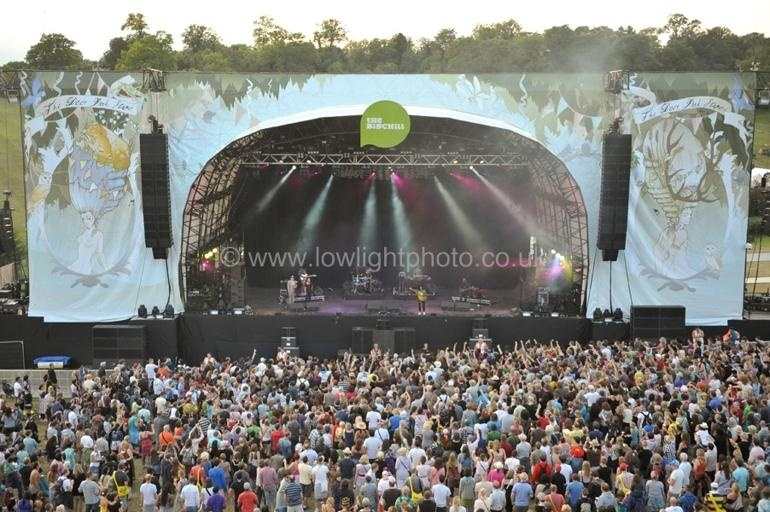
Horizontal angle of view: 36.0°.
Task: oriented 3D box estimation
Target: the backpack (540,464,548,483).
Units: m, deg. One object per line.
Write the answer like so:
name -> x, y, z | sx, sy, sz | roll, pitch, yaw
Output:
backpack -> 5.387, 7.268, 40.045 | 0.333, 0.501, 0.635 | -2, -2, 8

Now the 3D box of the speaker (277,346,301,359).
speaker -> -4.071, 4.215, 51.243 | 0.880, 0.508, 0.570 | 0, -3, -2

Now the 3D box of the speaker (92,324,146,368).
speaker -> -11.484, 3.833, 50.977 | 2.060, 1.636, 0.650 | 0, -1, -7

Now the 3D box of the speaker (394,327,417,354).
speaker -> 0.820, 3.628, 51.621 | 1.285, 1.040, 0.560 | 0, 0, -2
